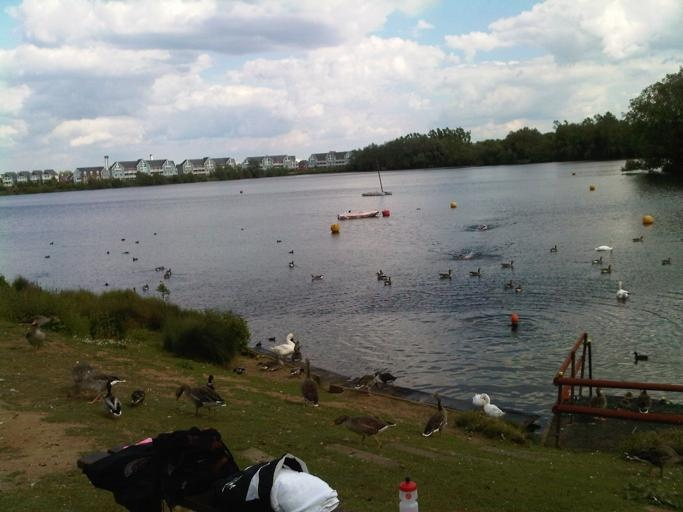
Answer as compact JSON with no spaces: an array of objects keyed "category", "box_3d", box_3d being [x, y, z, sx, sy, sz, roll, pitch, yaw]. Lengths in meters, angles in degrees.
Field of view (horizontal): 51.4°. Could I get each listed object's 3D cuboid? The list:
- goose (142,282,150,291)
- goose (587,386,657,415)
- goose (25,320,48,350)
[{"category":"goose","box_3d":[-15.356,2.354,55.238,0.550,0.264,0.674,4,11,5]},{"category":"goose","box_3d":[11.333,6.080,29.159,3.631,1.500,1.180,4,2,-15]},{"category":"goose","box_3d":[-13.186,3.345,30.678,0.880,1.134,1.633,2,15,-14]}]
